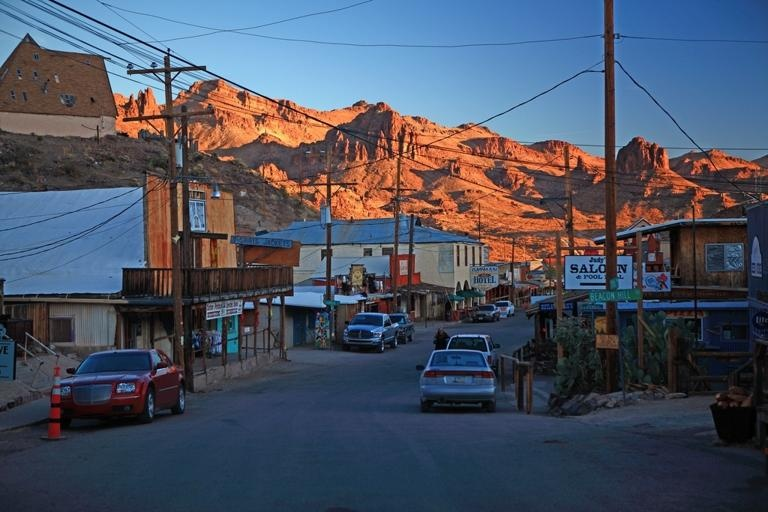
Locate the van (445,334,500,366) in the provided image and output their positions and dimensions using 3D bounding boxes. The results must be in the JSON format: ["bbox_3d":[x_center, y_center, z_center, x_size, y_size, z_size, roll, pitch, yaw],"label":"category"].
[{"bbox_3d":[3.192,3.396,30.799,1.235,0.849,2.367,-1,-11,11],"label":"van"}]

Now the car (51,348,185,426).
[{"bbox_3d":[-7.574,3.814,25.024,2.093,2.157,3.469,-3,-6,32],"label":"car"}]
